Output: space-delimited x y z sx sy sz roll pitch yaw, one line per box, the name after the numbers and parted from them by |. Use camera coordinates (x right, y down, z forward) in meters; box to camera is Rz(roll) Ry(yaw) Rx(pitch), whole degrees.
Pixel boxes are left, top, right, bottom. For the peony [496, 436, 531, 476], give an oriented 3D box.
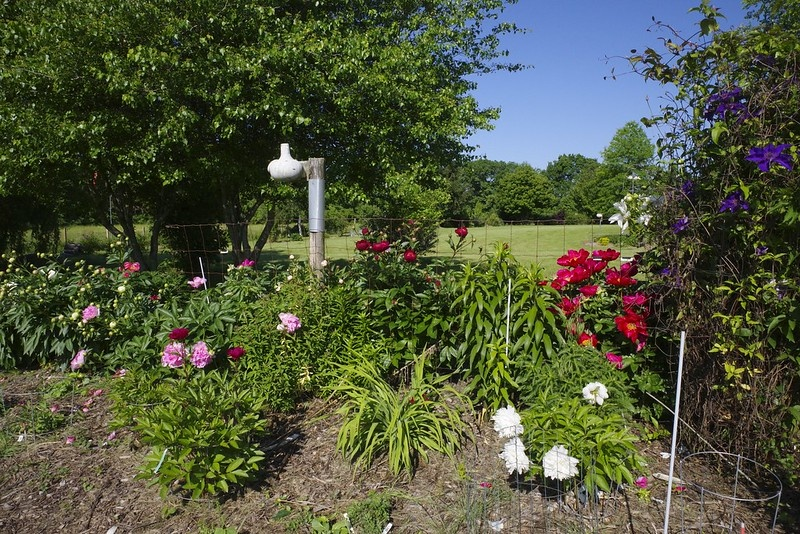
1.027 1.685 5.252 0.245 0.432 0.325 2 7 11 | peony

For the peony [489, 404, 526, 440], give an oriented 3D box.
0.969 1.397 5.288 0.263 0.299 0.225 1 7 1 | peony

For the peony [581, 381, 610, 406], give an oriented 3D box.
1.749 1.154 5.344 0.223 0.236 0.152 1 7 2 | peony

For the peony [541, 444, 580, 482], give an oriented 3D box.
1.364 1.652 5.066 0.293 0.263 0.196 2 7 13 | peony
